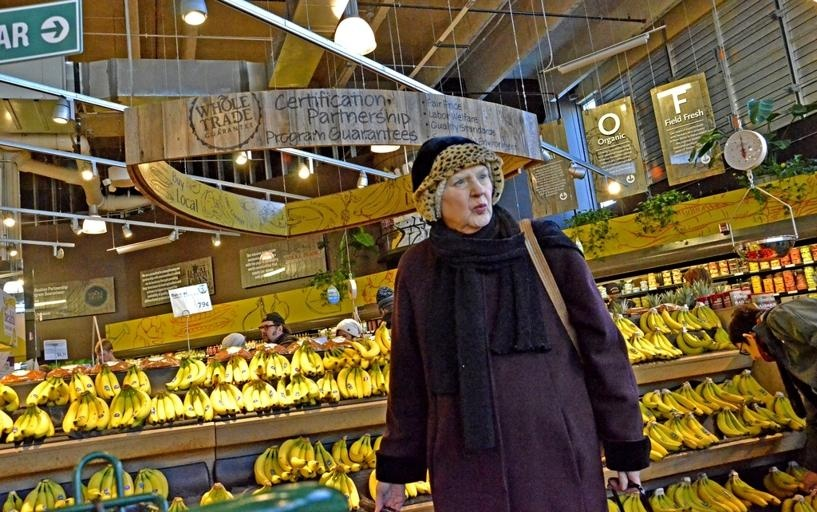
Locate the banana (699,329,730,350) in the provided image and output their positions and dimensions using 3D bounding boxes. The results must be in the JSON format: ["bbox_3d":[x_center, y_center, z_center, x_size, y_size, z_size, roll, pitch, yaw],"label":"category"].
[{"bbox_3d":[2.917,0.810,6.368,0.176,0.153,0.249,0,14,-4],"label":"banana"}]

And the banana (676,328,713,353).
[{"bbox_3d":[2.688,0.792,6.286,0.218,0.178,0.285,-14,16,-7],"label":"banana"}]

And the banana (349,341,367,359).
[{"bbox_3d":[-0.438,0.835,5.868,0.058,0.097,0.189,11,18,-48],"label":"banana"}]

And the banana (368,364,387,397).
[{"bbox_3d":[-0.272,1.062,5.734,0.102,0.288,0.189,1,-31,-14],"label":"banana"}]

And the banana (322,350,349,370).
[{"bbox_3d":[-0.647,0.912,5.744,0.158,0.162,0.057,-1,-20,3],"label":"banana"}]

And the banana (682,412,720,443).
[{"bbox_3d":[2.595,1.573,5.868,0.198,0.328,0.109,-51,-8,-8],"label":"banana"}]

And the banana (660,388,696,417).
[{"bbox_3d":[2.449,1.350,6.063,0.146,0.285,0.091,-28,-45,-26],"label":"banana"}]

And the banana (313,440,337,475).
[{"bbox_3d":[-0.679,1.659,5.417,0.124,0.286,0.099,-19,-21,-3],"label":"banana"}]

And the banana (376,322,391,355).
[{"bbox_3d":[-0.227,0.752,6.062,0.121,0.232,0.362,-4,-4,1],"label":"banana"}]

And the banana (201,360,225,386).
[{"bbox_3d":[-1.638,1.000,5.627,0.124,0.087,0.237,2,23,5],"label":"banana"}]

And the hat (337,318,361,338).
[{"bbox_3d":[-0.640,0.784,7.246,0.179,0.176,0.227,4,6,9],"label":"hat"}]

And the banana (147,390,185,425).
[{"bbox_3d":[-1.957,1.218,5.343,0.199,0.268,0.103,-7,-50,-10],"label":"banana"}]

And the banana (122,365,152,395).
[{"bbox_3d":[-2.260,1.039,5.541,0.164,0.276,0.131,-16,-14,-34],"label":"banana"}]

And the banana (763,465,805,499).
[{"bbox_3d":[3.271,2.008,5.832,0.187,0.105,0.252,-28,11,2],"label":"banana"}]

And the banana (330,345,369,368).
[{"bbox_3d":[-0.526,0.842,5.816,0.207,0.094,0.209,12,16,-31],"label":"banana"}]

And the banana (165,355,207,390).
[{"bbox_3d":[-1.844,0.995,5.576,0.222,0.125,0.316,-7,30,11],"label":"banana"}]

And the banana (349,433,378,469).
[{"bbox_3d":[-0.386,1.627,5.522,0.106,0.242,0.209,7,8,36],"label":"banana"}]

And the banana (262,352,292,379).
[{"bbox_3d":[-1.138,0.945,5.743,0.159,0.221,0.093,-1,-41,-22],"label":"banana"}]

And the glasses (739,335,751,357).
[{"bbox_3d":[3.020,0.833,5.998,0.064,0.223,0.213,3,-17,15],"label":"glasses"}]

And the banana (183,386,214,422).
[{"bbox_3d":[-1.690,1.186,5.353,0.193,0.280,0.118,2,-48,-29],"label":"banana"}]

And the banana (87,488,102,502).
[{"bbox_3d":[-2.300,1.753,4.873,0.094,0.068,0.234,-6,-6,-30],"label":"banana"}]

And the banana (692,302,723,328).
[{"bbox_3d":[2.924,0.598,6.535,0.144,0.297,0.106,-36,-30,5],"label":"banana"}]

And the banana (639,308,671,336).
[{"bbox_3d":[2.354,0.634,6.421,0.171,0.293,0.126,-23,-41,-19],"label":"banana"}]

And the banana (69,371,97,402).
[{"bbox_3d":[-2.657,1.055,5.404,0.187,0.261,0.110,-5,-27,-31],"label":"banana"}]

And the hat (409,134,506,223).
[{"bbox_3d":[0.246,-0.539,4.255,0.542,0.469,0.531,-8,-12,-28],"label":"hat"}]

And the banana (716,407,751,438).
[{"bbox_3d":[2.869,1.513,5.931,0.158,0.310,0.119,-36,-45,-2],"label":"banana"}]

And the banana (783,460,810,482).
[{"bbox_3d":[3.423,1.918,5.918,0.156,0.106,0.065,26,-55,-33],"label":"banana"}]

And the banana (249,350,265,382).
[{"bbox_3d":[-1.306,0.964,5.749,0.121,0.081,0.330,-1,26,2],"label":"banana"}]

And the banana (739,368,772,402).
[{"bbox_3d":[3.239,1.225,6.227,0.090,0.265,0.168,-26,-42,-21],"label":"banana"}]

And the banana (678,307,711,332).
[{"bbox_3d":[2.769,0.632,6.470,0.132,0.206,0.069,-27,-32,-32],"label":"banana"}]

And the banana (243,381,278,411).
[{"bbox_3d":[-1.240,1.149,5.498,0.209,0.270,0.097,-8,-53,-21],"label":"banana"}]

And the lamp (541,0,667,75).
[{"bbox_3d":[4.090,-4.569,13.705,2.381,0.563,0.325,-24,13,48],"label":"lamp"}]

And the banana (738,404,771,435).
[{"bbox_3d":[3.064,1.463,5.942,0.080,0.170,0.264,-22,24,6],"label":"banana"}]

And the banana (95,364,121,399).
[{"bbox_3d":[-2.477,0.996,5.468,0.169,0.301,0.150,-4,-38,-23],"label":"banana"}]

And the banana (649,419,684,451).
[{"bbox_3d":[2.225,1.579,5.836,0.175,0.130,0.338,0,16,-18],"label":"banana"}]

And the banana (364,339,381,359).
[{"bbox_3d":[-0.334,0.826,5.872,0.053,0.114,0.207,-50,1,17],"label":"banana"}]

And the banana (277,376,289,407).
[{"bbox_3d":[-1.045,1.145,5.588,0.085,0.279,0.170,6,-43,-10],"label":"banana"}]

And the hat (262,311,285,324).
[{"bbox_3d":[-1.539,0.728,7.656,0.174,0.145,0.223,-8,-35,11],"label":"hat"}]

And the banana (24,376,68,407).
[{"bbox_3d":[-2.867,1.112,5.363,0.304,0.219,0.144,-15,-40,1],"label":"banana"}]

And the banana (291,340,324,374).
[{"bbox_3d":[-0.852,0.898,5.812,0.175,0.131,0.297,4,18,-15],"label":"banana"}]

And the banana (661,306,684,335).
[{"bbox_3d":[2.537,0.649,6.488,0.131,0.346,0.081,13,-59,-14],"label":"banana"}]

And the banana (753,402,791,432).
[{"bbox_3d":[3.211,1.444,5.913,0.140,0.109,0.405,-21,6,8],"label":"banana"}]

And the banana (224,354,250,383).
[{"bbox_3d":[-1.473,0.989,5.706,0.148,0.253,0.060,0,-37,-11],"label":"banana"}]
